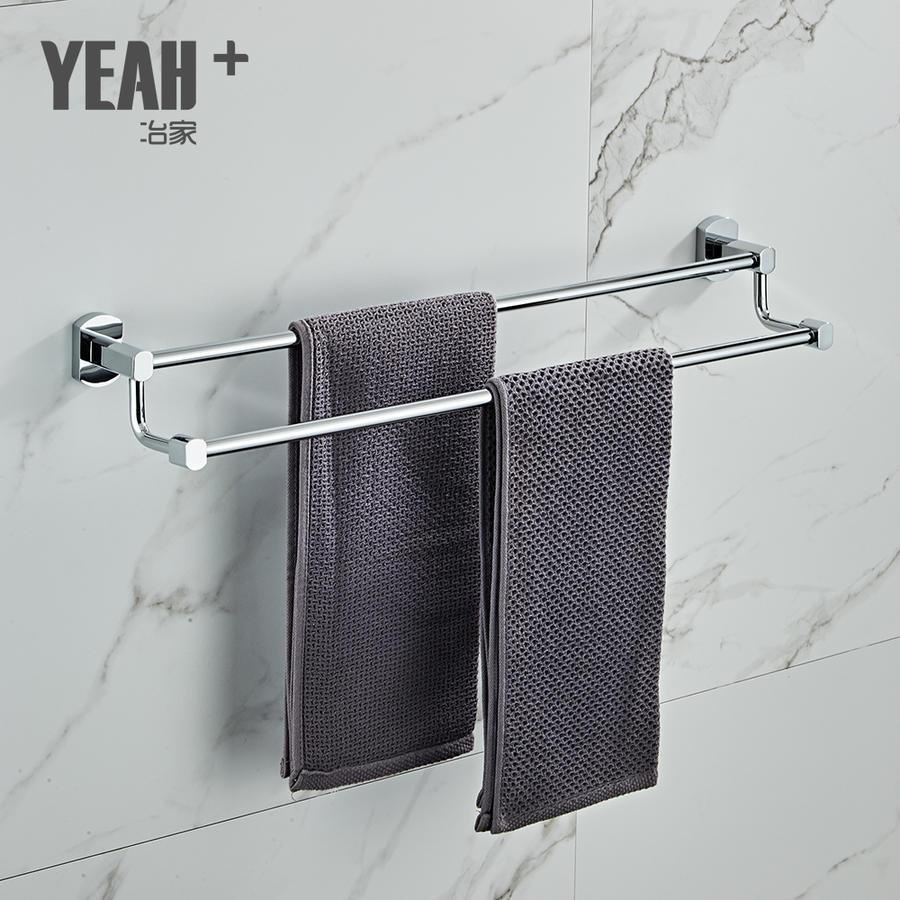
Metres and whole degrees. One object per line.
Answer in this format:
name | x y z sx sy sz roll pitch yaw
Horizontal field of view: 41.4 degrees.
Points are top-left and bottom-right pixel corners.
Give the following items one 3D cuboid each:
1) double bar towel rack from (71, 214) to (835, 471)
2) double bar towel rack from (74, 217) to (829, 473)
double bar towel rack | 0.001 -0.081 0.947 0.532 0.102 0.076 -13 12 -3
double bar towel rack | 0.058 -0.112 1.017 0.700 0.115 0.174 -11 25 -29
